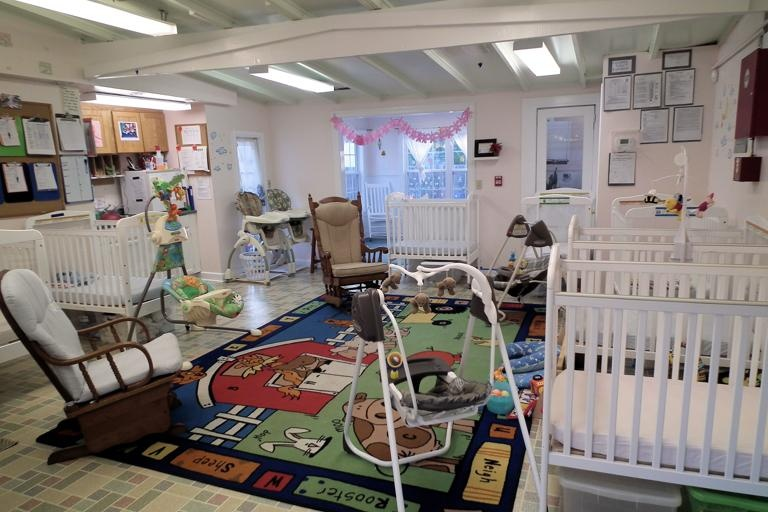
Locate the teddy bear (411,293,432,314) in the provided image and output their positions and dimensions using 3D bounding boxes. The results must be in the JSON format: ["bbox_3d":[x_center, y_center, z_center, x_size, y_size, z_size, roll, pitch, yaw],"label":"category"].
[{"bbox_3d":[0.242,0.314,3.253,0.122,0.090,0.153,-1,-1,3],"label":"teddy bear"}]

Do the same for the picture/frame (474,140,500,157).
[{"bbox_3d":[1.573,-1.638,7.399,0.329,0.217,0.103,1,9,15],"label":"picture/frame"}]

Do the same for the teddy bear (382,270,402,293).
[{"bbox_3d":[0.001,0.170,3.185,0.172,0.109,0.114,-13,8,18],"label":"teddy bear"}]

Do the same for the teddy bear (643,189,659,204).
[{"bbox_3d":[2.753,-0.618,5.022,0.136,0.101,0.223,2,4,25],"label":"teddy bear"}]

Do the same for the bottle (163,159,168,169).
[{"bbox_3d":[-3.354,-1.393,7.470,0.058,0.120,0.321,-9,12,-21],"label":"bottle"}]

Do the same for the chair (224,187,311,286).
[{"bbox_3d":[-1.932,-0.334,7.724,0.959,1.385,1.378,2,13,24],"label":"chair"}]

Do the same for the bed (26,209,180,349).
[{"bbox_3d":[-3.071,0.080,5.646,1.842,1.281,1.114,4,12,18],"label":"bed"}]

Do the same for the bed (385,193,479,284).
[{"bbox_3d":[0.705,-0.302,7.198,1.363,1.168,1.138,-1,12,10],"label":"bed"}]
